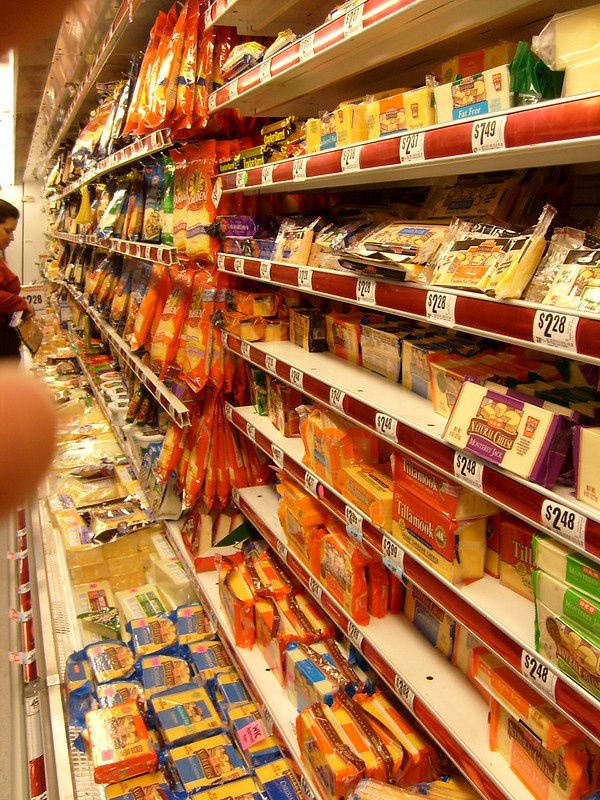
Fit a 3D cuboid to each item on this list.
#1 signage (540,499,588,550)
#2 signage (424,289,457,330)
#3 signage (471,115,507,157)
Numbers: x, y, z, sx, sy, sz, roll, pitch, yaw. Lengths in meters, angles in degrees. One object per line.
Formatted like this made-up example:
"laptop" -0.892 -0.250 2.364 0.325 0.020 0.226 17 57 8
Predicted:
"signage" 0.395 0.187 0.814 0.008 0.051 0.087 -8 15 -16
"signage" 0.281 -0.185 1.086 0.004 0.059 0.084 -5 16 -19
"signage" 0.316 -0.447 0.910 0.010 0.060 0.090 -8 15 -16
